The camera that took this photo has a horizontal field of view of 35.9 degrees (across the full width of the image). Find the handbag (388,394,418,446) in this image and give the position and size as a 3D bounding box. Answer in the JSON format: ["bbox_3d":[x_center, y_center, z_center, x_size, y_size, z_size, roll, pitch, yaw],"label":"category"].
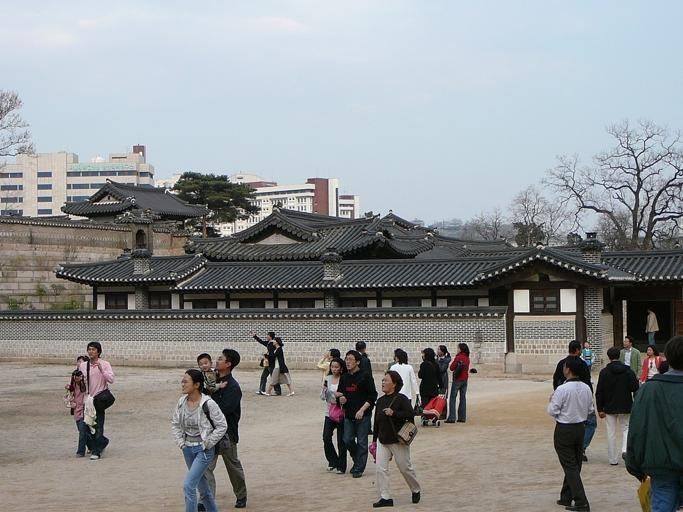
[{"bbox_3d":[1.066,2.966,18.662,0.462,0.829,0.309,0,0,3],"label":"handbag"}]

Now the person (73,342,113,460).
[{"bbox_3d":[-5.049,2.993,21.643,0.715,2.442,0.899,0,0,-14],"label":"person"}]

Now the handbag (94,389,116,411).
[{"bbox_3d":[-4.833,2.959,21.401,0.381,0.472,0.284,0,0,-12],"label":"handbag"}]

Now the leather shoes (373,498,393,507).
[{"bbox_3d":[0.732,4.374,18.605,0.398,0.142,0.134,2,-6,1],"label":"leather shoes"}]

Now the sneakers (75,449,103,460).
[{"bbox_3d":[-5.199,4.158,21.908,0.596,0.204,0.197,-4,-10,26],"label":"sneakers"}]

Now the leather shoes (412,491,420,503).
[{"bbox_3d":[1.314,4.320,18.779,0.137,0.195,0.179,0,0,0],"label":"leather shoes"}]

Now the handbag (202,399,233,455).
[{"bbox_3d":[-2.125,2.923,18.016,0.282,0.983,0.845,0,0,10],"label":"handbag"}]
